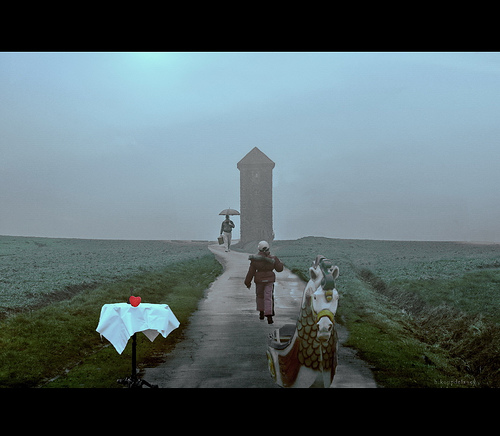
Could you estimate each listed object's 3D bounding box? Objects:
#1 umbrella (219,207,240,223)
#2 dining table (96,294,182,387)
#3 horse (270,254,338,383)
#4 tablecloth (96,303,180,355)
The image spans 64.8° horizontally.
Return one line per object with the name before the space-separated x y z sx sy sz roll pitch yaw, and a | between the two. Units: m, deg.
umbrella | -1.589 -0.178 31.443 1.223 1.094 1.192 -1 -5 -2
dining table | -2.244 2.489 7.916 1.400 1.875 1.575 -1 1 -35
horse | 0.965 1.778 6.604 0.561 2.346 1.337 -6 12 -33
tablecloth | -2.161 1.946 7.147 1.097 0.572 1.134 1 -18 -4
